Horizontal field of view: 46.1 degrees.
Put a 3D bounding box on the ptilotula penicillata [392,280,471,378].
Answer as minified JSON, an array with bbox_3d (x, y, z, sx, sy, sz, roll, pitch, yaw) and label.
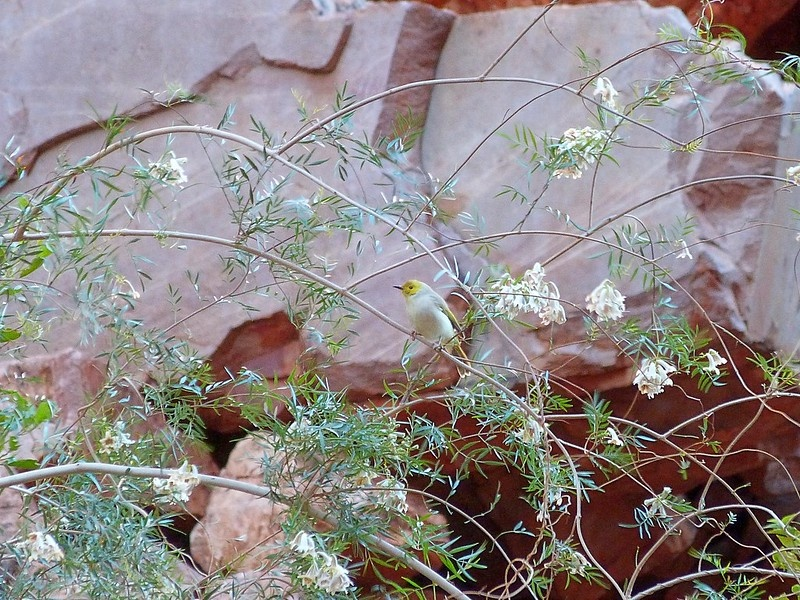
[{"bbox_3d":[0.144,0.091,4.144,0.184,0.299,0.462,-21,-31,40],"label":"ptilotula penicillata"}]
